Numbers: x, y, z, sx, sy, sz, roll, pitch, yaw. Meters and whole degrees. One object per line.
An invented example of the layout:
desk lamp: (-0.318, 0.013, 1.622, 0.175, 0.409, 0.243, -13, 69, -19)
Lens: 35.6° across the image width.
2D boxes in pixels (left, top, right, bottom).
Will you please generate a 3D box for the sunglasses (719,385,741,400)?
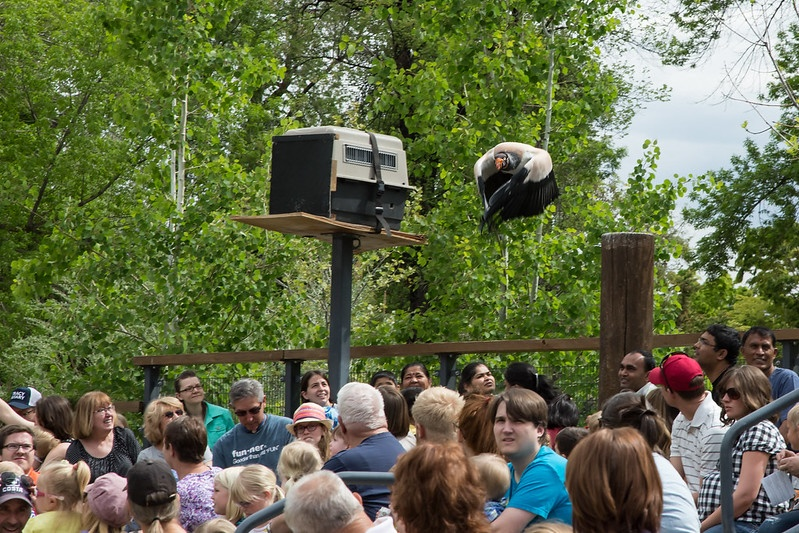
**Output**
sunglasses: (4.062, 1.566, 15.340, 0.134, 0.154, 0.321, 6, -6, -20)

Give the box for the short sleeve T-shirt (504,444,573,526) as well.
short sleeve T-shirt: (1.700, 2.571, 14.903, 0.777, 0.768, 1.117, -1, -5, -4)

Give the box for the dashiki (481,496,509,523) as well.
dashiki: (1.132, 2.891, 14.850, 0.368, 0.420, 0.247, -2, -9, 19)

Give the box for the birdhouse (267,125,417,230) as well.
birdhouse: (-0.884, -1.272, 18.456, 1.513, 1.312, 1.931, 3, 0, 33)

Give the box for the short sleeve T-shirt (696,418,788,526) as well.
short sleeve T-shirt: (4.204, 2.563, 15.155, 1.032, 1.390, 0.522, 2, -6, 22)
